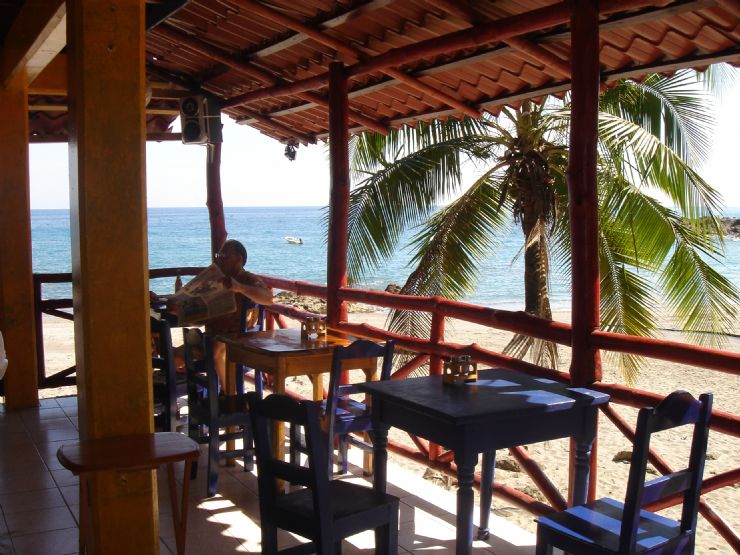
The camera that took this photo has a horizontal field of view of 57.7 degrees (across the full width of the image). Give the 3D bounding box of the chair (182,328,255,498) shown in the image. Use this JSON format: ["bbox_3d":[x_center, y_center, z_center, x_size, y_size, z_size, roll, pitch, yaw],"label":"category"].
[{"bbox_3d":[-1.027,0.942,4.940,0.650,1.070,0.646,0,1,43],"label":"chair"}]

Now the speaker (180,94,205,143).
[{"bbox_3d":[-2.145,-1.911,8.104,0.424,0.572,0.184,2,4,32],"label":"speaker"}]

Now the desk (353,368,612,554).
[{"bbox_3d":[0.551,0.699,3.780,1.030,1.040,1.046,-1,3,-25],"label":"desk"}]

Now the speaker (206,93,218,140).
[{"bbox_3d":[-1.894,-1.919,8.145,0.173,0.538,0.319,-1,4,-13],"label":"speaker"}]
